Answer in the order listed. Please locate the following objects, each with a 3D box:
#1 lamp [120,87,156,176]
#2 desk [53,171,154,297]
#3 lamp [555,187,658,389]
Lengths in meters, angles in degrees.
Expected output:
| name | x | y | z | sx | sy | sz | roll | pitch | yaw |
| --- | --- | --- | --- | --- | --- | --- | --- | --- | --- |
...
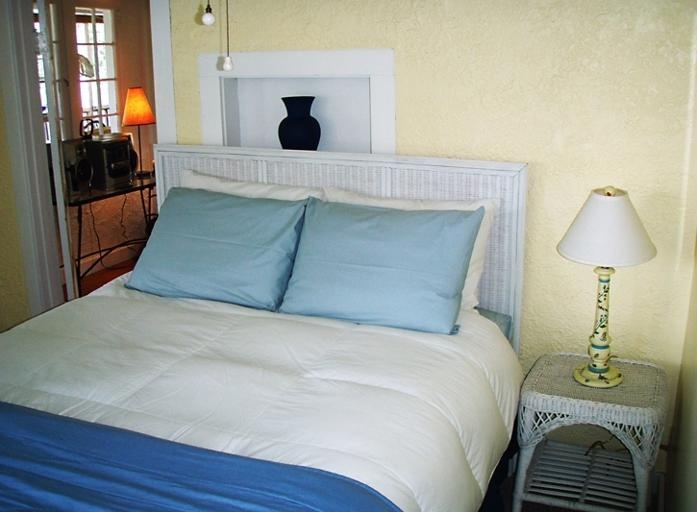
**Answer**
| name | x | y | z | sx | sy | sz | roll | pitch | yaw |
| --- | --- | --- | --- | --- | --- | --- | --- | --- | --- |
| lamp | -2.046 | -1.179 | 5.248 | 0.327 | 0.844 | 0.323 | -17 | 26 | -41 |
| desk | -1.912 | -0.177 | 4.119 | 0.347 | 0.641 | 1.014 | 6 | 14 | 12 |
| lamp | 1.025 | 0.124 | 2.189 | 0.344 | 0.799 | 0.269 | -5 | 19 | -21 |
